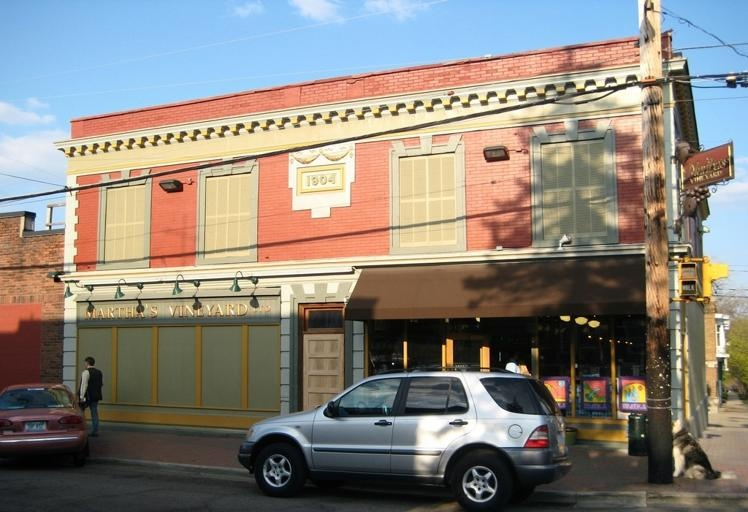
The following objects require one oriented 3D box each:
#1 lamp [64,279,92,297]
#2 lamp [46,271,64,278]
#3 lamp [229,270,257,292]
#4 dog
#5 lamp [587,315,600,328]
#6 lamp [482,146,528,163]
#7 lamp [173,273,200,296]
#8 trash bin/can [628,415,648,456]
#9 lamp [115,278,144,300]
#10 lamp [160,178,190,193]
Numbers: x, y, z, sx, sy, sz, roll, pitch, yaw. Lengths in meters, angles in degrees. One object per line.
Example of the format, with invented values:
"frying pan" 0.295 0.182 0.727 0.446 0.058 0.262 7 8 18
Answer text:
"lamp" -10.136 1.088 29.571 1.127 0.569 0.487 3 1 22
"lamp" -11.085 0.612 30.415 0.404 0.252 0.103 8 -56 -18
"lamp" -4.085 0.762 27.574 0.887 0.681 0.652 -1 -12 -9
"dog" 7.515 4.500 20.468 1.202 1.383 0.659 -5 -12 13
"lamp" 6.191 1.833 24.653 0.384 0.187 0.356 -2 -7 12
"lamp" 3.764 -2.996 25.581 0.980 0.228 0.559 -1 -6 9
"lamp" -6.135 0.831 28.198 1.039 0.711 0.543 -7 -12 20
"trash bin/can" 6.848 4.668 22.861 0.388 1.045 0.493 -3 -12 2
"lamp" -8.197 1.045 28.963 1.181 0.672 0.503 -9 -13 28
"lamp" -6.682 -2.396 28.793 0.845 0.541 0.428 -8 -13 24
